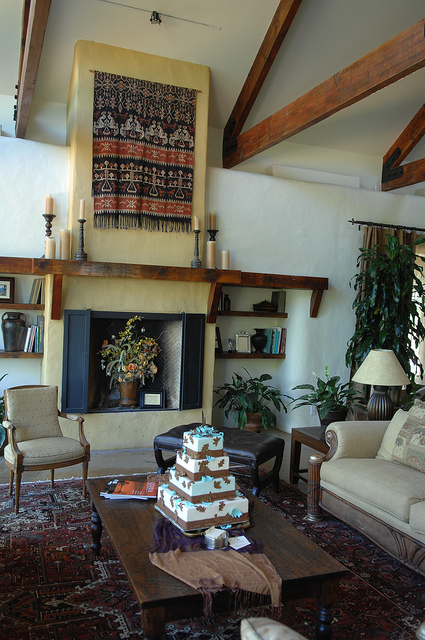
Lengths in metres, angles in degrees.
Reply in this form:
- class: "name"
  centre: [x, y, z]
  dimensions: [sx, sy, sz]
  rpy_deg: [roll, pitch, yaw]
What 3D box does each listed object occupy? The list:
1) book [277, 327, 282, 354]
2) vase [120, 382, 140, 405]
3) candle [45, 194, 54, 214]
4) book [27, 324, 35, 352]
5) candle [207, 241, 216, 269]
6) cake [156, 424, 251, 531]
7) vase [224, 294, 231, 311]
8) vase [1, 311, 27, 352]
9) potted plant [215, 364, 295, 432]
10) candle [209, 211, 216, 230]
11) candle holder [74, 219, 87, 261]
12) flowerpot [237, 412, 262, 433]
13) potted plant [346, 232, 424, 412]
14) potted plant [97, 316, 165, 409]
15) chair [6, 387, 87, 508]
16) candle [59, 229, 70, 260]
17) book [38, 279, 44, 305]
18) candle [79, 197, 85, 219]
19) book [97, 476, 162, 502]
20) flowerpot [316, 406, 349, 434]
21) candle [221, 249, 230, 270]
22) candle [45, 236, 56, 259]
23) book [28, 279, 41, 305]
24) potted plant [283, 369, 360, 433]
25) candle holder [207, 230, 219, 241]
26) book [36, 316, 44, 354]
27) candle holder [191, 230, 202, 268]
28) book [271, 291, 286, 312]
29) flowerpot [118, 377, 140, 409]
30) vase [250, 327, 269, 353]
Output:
- class: "book"
  centre: [0.789, 0.240, 5.474]
  dimensions: [0.053, 0.296, 0.024]
  rpy_deg: [2, -3, 2]
- class: "vase"
  centre: [-0.832, 0.731, 4.666]
  dimensions: [0.204, 0.225, 0.199]
  rpy_deg: [-8, -10, 43]
- class: "candle"
  centre: [-1.495, -1.070, 4.248]
  dimensions: [0.069, 0.240, 0.238]
  rpy_deg: [4, -3, -20]
- class: "book"
  centre: [-1.673, 0.174, 4.257]
  dimensions: [0.035, 0.267, 0.201]
  rpy_deg: [9, 5, -16]
- class: "candle"
  centre: [-0.014, -0.639, 4.621]
  dimensions: [0.086, 0.276, 0.239]
  rpy_deg: [2, -3, -1]
- class: "cake"
  centre: [-0.058, 0.587, 1.911]
  dimensions: [0.365, 0.396, 0.344]
  rpy_deg: [-3, 10, -28]
- class: "vase"
  centre: [0.171, -0.206, 5.378]
  dimensions: [0.073, 0.203, 0.188]
  rpy_deg: [2, -3, 3]
- class: "vase"
  centre: [-1.836, 0.105, 4.262]
  dimensions: [0.198, 0.360, 0.157]
  rpy_deg: [4, -4, -24]
- class: "potted plant"
  centre: [0.421, 0.970, 5.266]
  dimensions: [0.813, 0.654, 0.855]
  rpy_deg: [-3, -9, 39]
- class: "candle"
  centre: [-0.002, -0.985, 4.623]
  dimensions: [0.069, 0.191, 0.152]
  rpy_deg: [2, -3, -1]
- class: "candle holder"
  centre: [-1.145, -0.690, 4.044]
  dimensions: [0.109, 0.358, 0.274]
  rpy_deg: [3, -3, -17]
- class: "flowerpot"
  centre: [0.414, 1.098, 5.143]
  dimensions: [0.284, 0.232, 0.289]
  rpy_deg: [1, -8, -4]
- class: "potted plant"
  centre: [1.831, -0.097, 4.751]
  dimensions: [0.866, 1.835, 2.098]
  rpy_deg: [1, -3, 16]
- class: "potted plant"
  centre: [-0.810, 0.416, 4.628]
  dimensions: [0.682, 0.893, 0.566]
  rpy_deg: [3, -3, -13]
- class: "chair"
  centre: [-1.150, 0.883, 3.145]
  dimensions: [0.598, 0.881, 0.585]
  rpy_deg: [3, -12, -32]
- class: "candle"
  centre: [-1.279, -0.656, 4.048]
  dimensions: [0.058, 0.262, 0.151]
  rpy_deg: [2, -3, 13]
- class: "book"
  centre: [-1.589, -0.260, 4.302]
  dimensions: [0.037, 0.147, 0.141]
  rpy_deg: [7, 2, -17]
- class: "candle"
  centre: [-1.122, -0.946, 3.981]
  dimensions: [0.043, 0.186, 0.208]
  rpy_deg: [3, -3, -16]
- class: "book"
  centre: [-0.384, 0.802, 2.199]
  dimensions: [0.178, 0.045, 0.184]
  rpy_deg: [2, 5, -23]
- class: "flowerpot"
  centre: [0.906, 0.743, 3.453]
  dimensions: [0.161, 0.143, 0.176]
  rpy_deg: [1, -4, 3]
- class: "candle"
  centre: [0.118, -0.596, 4.619]
  dimensions: [0.074, 0.179, 0.066]
  rpy_deg: [2, -3, 7]
- class: "candle"
  centre: [-1.407, -0.614, 3.986]
  dimensions: [0.093, 0.178, 0.083]
  rpy_deg: [2, -3, -1]
- class: "book"
  centre: [-1.649, -0.260, 4.301]
  dimensions: [0.043, 0.193, 0.188]
  rpy_deg: [7, -6, -24]
- class: "potted plant"
  centre: [0.898, 0.666, 3.715]
  dimensions: [0.608, 0.461, 0.601]
  rpy_deg: [0, -14, 0]
- class: "candle holder"
  centre: [0.003, -0.838, 4.624]
  dimensions: [0.093, 0.109, 0.095]
  rpy_deg: [0, -2, 4]
- class: "book"
  centre: [-1.576, 0.145, 4.235]
  dimensions: [0.043, 0.439, 0.325]
  rpy_deg: [-1, 1, -15]
- class: "candle holder"
  centre: [-0.152, -0.682, 4.529]
  dimensions: [0.105, 0.364, 0.276]
  rpy_deg: [2, -3, -2]
- class: "book"
  centre: [0.804, -0.224, 5.591]
  dimensions: [0.146, 0.259, 0.178]
  rpy_deg: [3, -3, -14]
- class: "flowerpot"
  centre: [-0.828, 0.730, 4.560]
  dimensions: [0.246, 0.318, 0.248]
  rpy_deg: [1, -7, 9]
- class: "vase"
  centre: [0.552, 0.238, 5.481]
  dimensions: [0.205, 0.292, 0.165]
  rpy_deg: [1, -4, 29]
